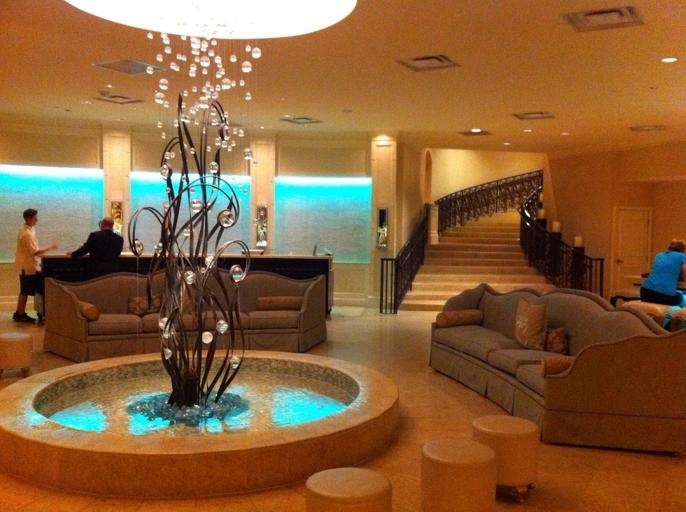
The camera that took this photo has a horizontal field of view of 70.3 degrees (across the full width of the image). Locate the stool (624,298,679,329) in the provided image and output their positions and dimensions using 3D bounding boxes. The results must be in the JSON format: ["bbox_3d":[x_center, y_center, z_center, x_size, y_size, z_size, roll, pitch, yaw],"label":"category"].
[{"bbox_3d":[3.966,0.733,6.228,0.497,0.223,0.492,2,1,0],"label":"stool"}]

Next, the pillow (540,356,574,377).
[{"bbox_3d":[1.850,0.956,4.210,0.239,0.155,0.253,2,5,20],"label":"pillow"}]

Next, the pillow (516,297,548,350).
[{"bbox_3d":[2.035,0.750,5.244,0.184,0.453,0.474,9,2,-17],"label":"pillow"}]

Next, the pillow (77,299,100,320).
[{"bbox_3d":[-3.183,0.712,6.189,0.319,0.221,0.194,4,6,31],"label":"pillow"}]

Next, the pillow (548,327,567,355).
[{"bbox_3d":[2.222,0.879,5.055,0.231,0.230,0.101,-1,-9,16],"label":"pillow"}]

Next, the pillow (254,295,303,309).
[{"bbox_3d":[-0.868,0.695,7.205,0.808,0.250,0.234,1,2,-1],"label":"pillow"}]

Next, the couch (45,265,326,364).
[{"bbox_3d":[-2.125,0.822,6.742,3.775,1.098,1.083,0,5,-14],"label":"couch"}]

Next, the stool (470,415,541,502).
[{"bbox_3d":[1.184,1.403,3.518,0.474,0.491,0.466,-8,14,-21],"label":"stool"}]

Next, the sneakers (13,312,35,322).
[{"bbox_3d":[-5.597,1.108,8.689,0.383,0.156,0.191,0,0,-10],"label":"sneakers"}]

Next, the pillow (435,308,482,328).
[{"bbox_3d":[1.510,0.814,6.429,0.721,0.222,0.223,0,-18,-20],"label":"pillow"}]

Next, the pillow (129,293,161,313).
[{"bbox_3d":[-2.600,0.645,6.545,0.395,0.247,0.116,-1,-12,-10],"label":"pillow"}]
